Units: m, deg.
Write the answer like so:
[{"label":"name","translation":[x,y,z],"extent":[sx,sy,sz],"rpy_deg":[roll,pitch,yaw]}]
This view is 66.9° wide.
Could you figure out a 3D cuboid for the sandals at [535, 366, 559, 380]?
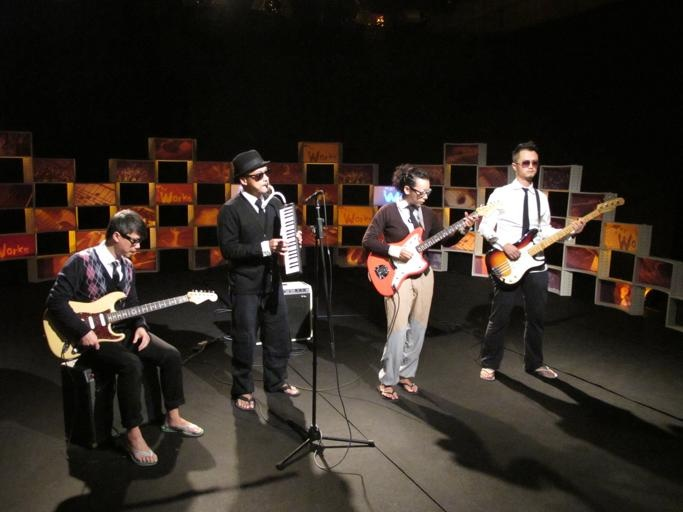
[{"label":"sandals","translation":[2.139,1.236,5.433],"extent":[0.189,0.130,0.070],"rpy_deg":[3,-4,0]}]

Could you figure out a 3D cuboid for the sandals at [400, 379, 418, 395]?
[{"label":"sandals","translation":[0.665,1.315,5.166],"extent":[0.194,0.047,0.097],"rpy_deg":[32,63,34]}]

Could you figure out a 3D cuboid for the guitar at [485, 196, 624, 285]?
[{"label":"guitar","translation":[1.987,-0.100,5.134],"extent":[1.136,0.793,0.255],"rpy_deg":[-1,10,-4]}]

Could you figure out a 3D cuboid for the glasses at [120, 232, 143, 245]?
[{"label":"glasses","translation":[-1.709,-0.131,4.235],"extent":[0.107,0.032,0.108],"rpy_deg":[28,9,25]}]

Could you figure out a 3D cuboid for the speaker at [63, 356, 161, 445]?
[{"label":"speaker","translation":[-1.886,1.170,4.190],"extent":[0.381,0.691,0.717],"rpy_deg":[-6,-3,33]}]

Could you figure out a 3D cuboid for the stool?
[{"label":"stool","translation":[-1.980,1.213,4.414],"extent":[0.327,0.569,0.614],"rpy_deg":[0,1,29]}]

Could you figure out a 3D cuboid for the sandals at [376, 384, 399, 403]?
[{"label":"sandals","translation":[0.435,1.336,5.022],"extent":[0.116,0.061,0.182],"rpy_deg":[3,0,-29]}]

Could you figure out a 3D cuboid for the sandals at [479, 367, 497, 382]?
[{"label":"sandals","translation":[1.504,1.242,5.390],"extent":[0.123,0.130,0.047],"rpy_deg":[0,-13,21]}]

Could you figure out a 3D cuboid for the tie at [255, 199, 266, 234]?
[{"label":"tie","translation":[-0.749,-0.355,4.794],"extent":[0.073,0.329,0.083],"rpy_deg":[-3,-3,-25]}]

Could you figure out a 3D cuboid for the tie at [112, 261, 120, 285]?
[{"label":"tie","translation":[-1.867,0.140,4.303],"extent":[0.031,0.140,0.081],"rpy_deg":[-4,7,6]}]

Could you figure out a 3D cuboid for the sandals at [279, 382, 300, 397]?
[{"label":"sandals","translation":[-0.502,1.309,5.066],"extent":[0.239,0.095,0.087],"rpy_deg":[20,-14,16]}]

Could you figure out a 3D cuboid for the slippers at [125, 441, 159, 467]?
[{"label":"slippers","translation":[-1.580,1.570,4.109],"extent":[0.286,0.130,0.128],"rpy_deg":[6,3,41]}]

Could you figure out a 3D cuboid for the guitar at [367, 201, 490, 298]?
[{"label":"guitar","translation":[0.672,0.033,4.935],"extent":[0.831,0.682,0.238],"rpy_deg":[-2,10,-10]}]

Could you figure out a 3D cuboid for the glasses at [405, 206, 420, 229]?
[{"label":"glasses","translation":[0.684,-0.361,4.967],"extent":[0.090,0.237,0.032],"rpy_deg":[-11,-3,-17]}]

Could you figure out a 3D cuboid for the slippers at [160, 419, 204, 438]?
[{"label":"slippers","translation":[-1.365,1.483,4.467],"extent":[0.294,0.089,0.146],"rpy_deg":[0,-1,5]}]
